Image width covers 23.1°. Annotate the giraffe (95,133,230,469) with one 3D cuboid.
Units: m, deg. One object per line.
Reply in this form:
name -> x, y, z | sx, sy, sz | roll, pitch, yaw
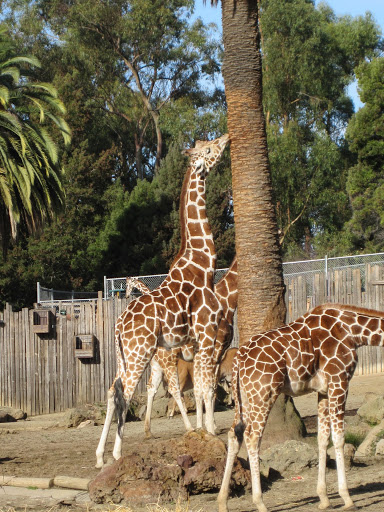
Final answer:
giraffe -> -0.293, 0.326, 13.077 | 0.933, 4.259, 2.247 | -3, -3, 30
